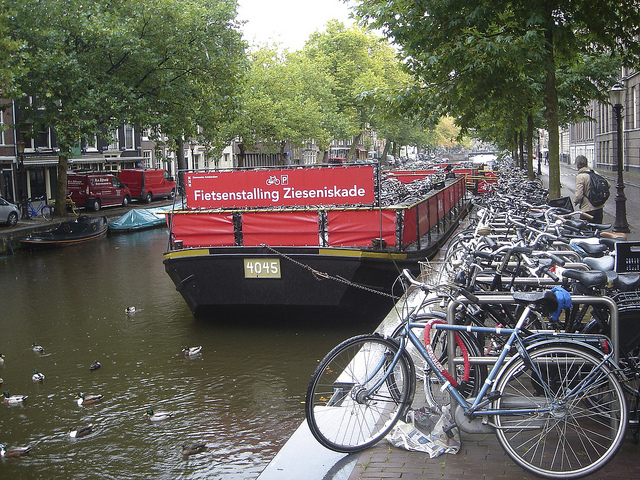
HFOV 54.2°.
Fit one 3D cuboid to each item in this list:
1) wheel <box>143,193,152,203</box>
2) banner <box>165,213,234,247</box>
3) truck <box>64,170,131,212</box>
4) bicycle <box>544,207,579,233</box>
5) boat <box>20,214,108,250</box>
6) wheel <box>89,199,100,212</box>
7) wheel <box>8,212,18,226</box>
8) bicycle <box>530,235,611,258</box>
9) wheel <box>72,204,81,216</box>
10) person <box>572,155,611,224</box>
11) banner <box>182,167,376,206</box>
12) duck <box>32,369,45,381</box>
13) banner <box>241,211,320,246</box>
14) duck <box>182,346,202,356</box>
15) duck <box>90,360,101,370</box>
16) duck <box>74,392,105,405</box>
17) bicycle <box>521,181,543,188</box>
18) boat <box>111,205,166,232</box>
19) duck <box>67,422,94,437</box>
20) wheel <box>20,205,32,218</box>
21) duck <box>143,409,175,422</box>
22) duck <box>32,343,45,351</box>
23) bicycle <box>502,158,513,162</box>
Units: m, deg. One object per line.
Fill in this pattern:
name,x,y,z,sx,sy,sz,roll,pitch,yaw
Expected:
wheel,-10.752,-2.628,38.799,0.228,0.674,0.665,-2,0,35
banner,-2.149,-0.208,11.579,1.205,0.688,0.148,-1,7,-3
truck,-12.260,-2.769,34.993,1.691,1.739,3.590,1,7,21
bicycle,3.751,-0.311,9.806,0.476,0.131,0.498,8,31,17
boat,-9.513,-0.298,23.992,0.965,0.824,3.127,7,10,17
wheel,-12.102,-1.848,33.455,0.259,0.699,0.690,-5,-3,34
wheel,-12.507,-0.875,25.435,0.149,0.475,0.472,-1,-14,28
bicycle,2.935,0.142,7.168,0.734,0.230,0.479,-2,7,7
wheel,-12.463,-1.539,31.937,0.175,0.624,0.653,-18,-15,2
person,5.666,-1.007,13.171,0.683,1.823,0.775,0,9,8
banner,-0.717,-0.909,11.424,3.610,0.893,0.219,-1,22,2
duck,-4.226,2.049,9.383,0.116,0.132,0.190,-10,-1,-22
banner,-0.722,-0.205,11.212,1.414,0.597,0.245,0,10,18
duck,-2.130,1.834,10.419,0.325,0.114,0.406,-6,10,-13
duck,-3.555,1.994,9.888,0.162,0.095,0.161,-7,11,-21
duck,-3.153,2.208,8.590,0.282,0.194,0.142,0,-13,2
bicycle,6.302,-1.684,18.477,0.533,0.179,0.584,1,0,-3
boat,-8.475,-0.956,29.103,1.065,0.573,3.442,7,12,11
duck,-2.967,2.355,7.741,0.293,0.107,0.242,-9,11,-29
wheel,-13.364,-1.304,28.420,0.451,0.611,0.233,0,-5,4
duck,-2.076,2.255,7.979,0.282,0.129,0.152,1,-8,5
duck,-4.822,1.852,10.759,0.209,0.144,0.111,8,0,18
bicycle,14.229,-6.040,47.472,0.519,0.097,3.456,-1,10,13
